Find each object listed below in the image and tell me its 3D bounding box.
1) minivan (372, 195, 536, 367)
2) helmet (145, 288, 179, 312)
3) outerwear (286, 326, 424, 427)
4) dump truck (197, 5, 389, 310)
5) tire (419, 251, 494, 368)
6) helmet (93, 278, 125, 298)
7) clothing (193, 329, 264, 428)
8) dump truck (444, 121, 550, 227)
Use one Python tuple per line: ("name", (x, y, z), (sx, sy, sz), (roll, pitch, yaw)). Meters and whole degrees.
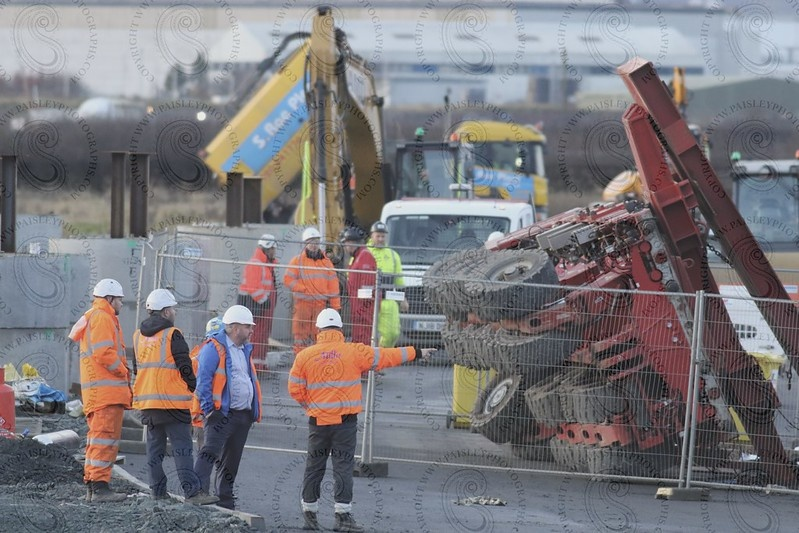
("minivan", (0.700, -0.161, 39.640), (2.110, 1.989, 3.421), (1, 1, 8))
("helmet", (-3.788, 0.539, 35.436), (0.443, 0.225, 0.313), (-15, 16, -15))
("outerwear", (-0.766, 1.740, 35.639), (1.686, 1.154, 0.600), (-2, 9, 8))
("dump truck", (-2.204, -2.425, 43.342), (2.164, 3.575, 6.560), (-13, -1, 4))
("tire", (0.860, 0.385, 36.065), (1.732, 1.691, 0.506), (15, -43, -15))
("helmet", (-4.636, 0.349, 35.534), (0.404, 0.239, 0.295), (0, 6, -13))
("clothing", (-2.736, 1.845, 35.195), (1.068, 1.733, 1.611), (-4, -6, 42))
("dump truck", (2.149, -2.122, 46.559), (2.561, 2.158, 1.683), (0, 5, -1))
